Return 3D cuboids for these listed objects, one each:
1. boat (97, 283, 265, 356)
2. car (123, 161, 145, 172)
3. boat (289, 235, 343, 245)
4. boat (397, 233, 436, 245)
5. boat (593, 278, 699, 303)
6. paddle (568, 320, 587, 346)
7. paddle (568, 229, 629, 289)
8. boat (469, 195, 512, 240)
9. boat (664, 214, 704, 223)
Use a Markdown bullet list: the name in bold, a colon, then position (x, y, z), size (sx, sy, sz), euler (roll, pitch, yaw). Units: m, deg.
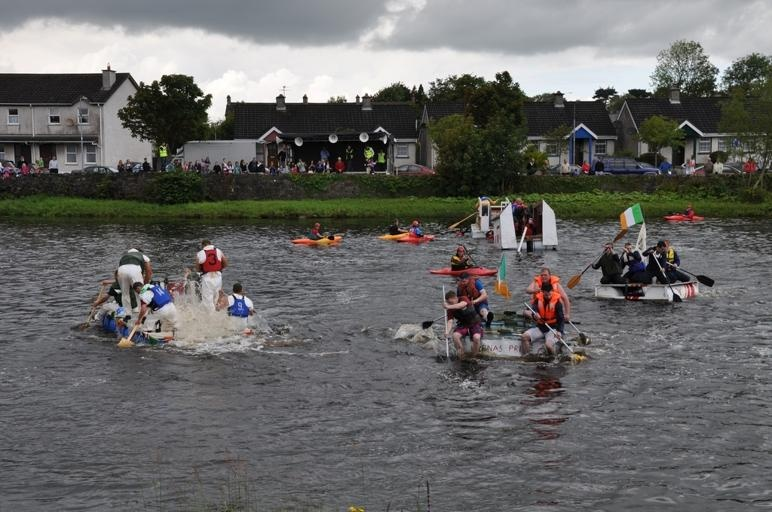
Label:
- **boat**: position (-10.030, 2.465, 58.075), size (7.861, 2.728, 4.103), euler (-1, 11, -3)
- **car**: position (-21.087, -7.559, 104.198), size (1.772, 0.796, 2.189), euler (-2, 11, -20)
- **boat**: position (-4.286, -0.930, 79.524), size (3.484, 0.695, 1.051), euler (-1, 0, -15)
- **boat**: position (2.217, -1.067, 81.079), size (2.668, 0.638, 0.850), euler (-2, 7, -27)
- **boat**: position (13.430, 1.801, 62.632), size (4.950, 0.889, 1.085), euler (1, 11, 3)
- **paddle**: position (9.019, 3.484, 56.831), size (0.774, 1.057, 1.419), euler (1, 11, 8)
- **paddle**: position (12.110, 0.269, 69.636), size (5.072, 0.179, 0.816), euler (-35, 47, -1)
- **boat**: position (7.324, -2.785, 83.627), size (2.281, 2.327, 2.529), euler (-3, 4, -44)
- **boat**: position (22.230, -2.756, 91.405), size (3.351, 0.731, 1.018), euler (2, -1, 6)
